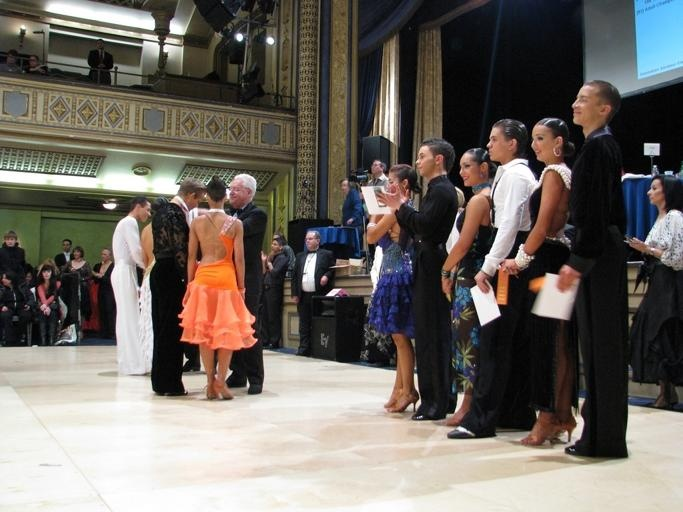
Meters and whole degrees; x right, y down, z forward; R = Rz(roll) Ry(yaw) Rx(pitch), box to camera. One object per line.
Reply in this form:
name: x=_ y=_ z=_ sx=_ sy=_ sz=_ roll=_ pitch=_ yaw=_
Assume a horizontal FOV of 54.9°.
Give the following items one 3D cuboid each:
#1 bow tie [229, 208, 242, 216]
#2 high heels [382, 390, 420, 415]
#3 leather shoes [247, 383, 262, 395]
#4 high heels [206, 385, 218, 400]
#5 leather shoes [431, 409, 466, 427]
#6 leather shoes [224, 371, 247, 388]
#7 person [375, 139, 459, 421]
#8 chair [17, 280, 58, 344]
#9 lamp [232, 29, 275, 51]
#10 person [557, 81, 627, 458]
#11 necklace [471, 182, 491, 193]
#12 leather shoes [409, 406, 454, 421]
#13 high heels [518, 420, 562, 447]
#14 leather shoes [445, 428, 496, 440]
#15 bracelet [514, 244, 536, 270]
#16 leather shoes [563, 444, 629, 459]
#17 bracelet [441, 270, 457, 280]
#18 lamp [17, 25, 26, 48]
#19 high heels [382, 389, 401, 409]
bow tie: x=-0.990 y=-0.393 z=6.011 sx=0.093 sy=0.024 sz=0.091 roll=25 pitch=-24 yaw=1
high heels: x=0.457 y=1.126 z=5.106 sx=0.243 sy=0.162 sz=0.139 roll=-1 pitch=-3 yaw=-18
leather shoes: x=-0.764 y=1.156 z=5.759 sx=0.121 sy=0.082 sz=0.135 roll=0 pitch=0 yaw=-13
high heels: x=-1.076 y=1.132 z=5.464 sx=0.066 sy=0.114 sz=0.110 roll=1 pitch=-12 yaw=-9
leather shoes: x=0.745 y=1.155 z=4.680 sx=0.083 sy=0.122 sz=0.263 roll=16 pitch=-21 yaw=-41
leather shoes: x=-0.992 y=1.144 z=6.161 sx=0.222 sy=0.172 sz=0.087 roll=0 pitch=2 yaw=-21
person: x=0.599 y=0.168 z=4.938 sx=0.584 sy=2.049 sz=0.622 roll=-2 pitch=0 yaw=12
chair: x=-4.887 y=0.894 z=10.584 sx=0.676 sy=1.193 sz=0.647 roll=7 pitch=-24 yaw=-32
lamp: x=-1.994 y=-4.917 z=14.979 sx=0.924 sy=0.430 sz=0.964 roll=-1 pitch=12 yaw=-7
person: x=1.473 y=0.063 z=3.832 sx=0.466 sy=1.870 sz=0.318 roll=0 pitch=0 yaw=3
necklace: x=0.971 y=-0.480 z=4.645 sx=0.078 sy=0.036 sz=0.095 roll=-15 pitch=-5 yaw=-34
leather shoes: x=0.665 y=1.165 z=4.798 sx=0.277 sy=0.122 sz=0.098 roll=7 pitch=-20 yaw=-2
high heels: x=1.266 y=1.122 z=4.190 sx=0.302 sy=0.158 sz=0.114 roll=1 pitch=-5 yaw=-17
leather shoes: x=0.828 y=1.154 z=4.292 sx=0.246 sy=0.088 sz=0.108 roll=7 pitch=-22 yaw=-3
bracelet: x=1.121 y=-0.001 z=4.099 sx=0.149 sy=0.095 sz=0.114 roll=-17 pitch=10 yaw=-10
leather shoes: x=1.494 y=1.134 z=3.846 sx=0.323 sy=0.110 sz=0.124 roll=2 pitch=-8 yaw=7
bracelet: x=0.750 y=0.131 z=4.603 sx=0.059 sy=0.047 sz=0.050 roll=-2 pitch=-8 yaw=43
lamp: x=-7.956 y=-5.461 z=16.360 sx=0.189 sy=0.617 sz=0.422 roll=0 pitch=0 yaw=-23
high heels: x=0.396 y=1.137 z=5.246 sx=0.084 sy=0.065 sz=0.208 roll=0 pitch=-32 yaw=1
